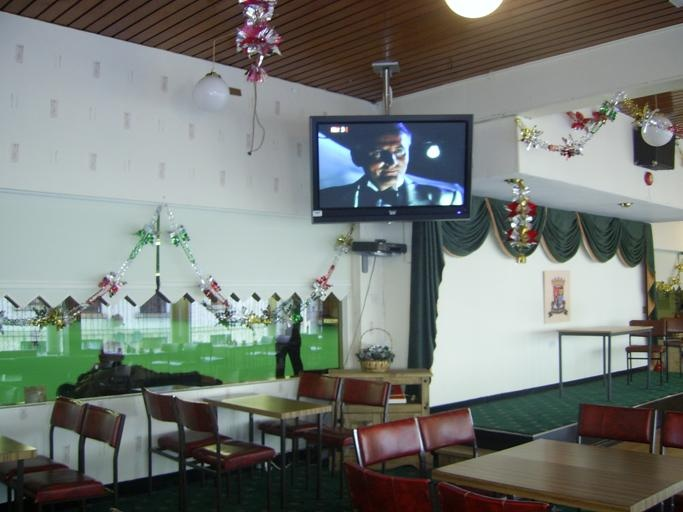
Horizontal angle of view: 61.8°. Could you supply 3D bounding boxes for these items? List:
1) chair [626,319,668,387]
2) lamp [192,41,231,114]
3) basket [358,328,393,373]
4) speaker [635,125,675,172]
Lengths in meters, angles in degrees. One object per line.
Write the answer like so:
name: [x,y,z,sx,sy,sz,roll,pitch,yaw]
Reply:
chair: [5.523,1.717,10.295,0.794,1.174,0.741,2,-4,-33]
lamp: [-1.258,-1.609,5.501,0.316,0.411,0.250,1,-6,-11]
basket: [0.410,1.153,7.091,0.457,0.489,0.478,1,-9,-3]
speaker: [4.247,-1.450,7.733,0.752,0.702,0.402,-5,5,-34]
